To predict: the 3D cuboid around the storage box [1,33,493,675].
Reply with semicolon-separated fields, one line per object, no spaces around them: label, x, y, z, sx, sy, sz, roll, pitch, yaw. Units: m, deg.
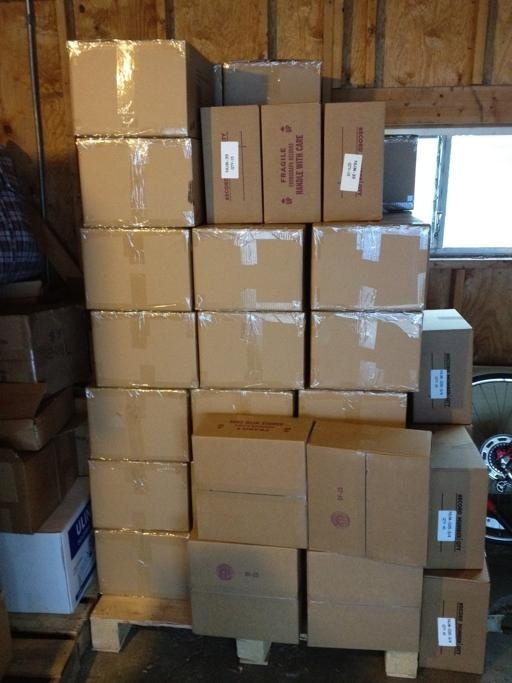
storage box;0.088;0.076;2.008;1.281;1.926;0.609;4;16;17
